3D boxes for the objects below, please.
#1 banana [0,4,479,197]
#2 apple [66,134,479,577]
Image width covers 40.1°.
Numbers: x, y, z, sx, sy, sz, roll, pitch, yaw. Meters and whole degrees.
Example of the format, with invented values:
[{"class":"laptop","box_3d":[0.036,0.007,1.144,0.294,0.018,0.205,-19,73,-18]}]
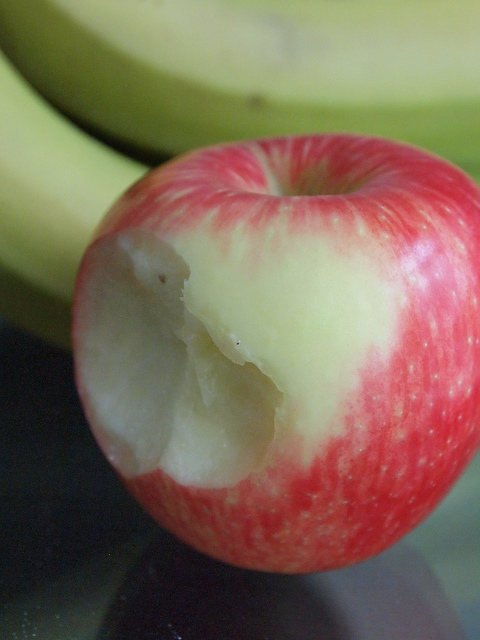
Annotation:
[{"class":"banana","box_3d":[0.015,-0.261,0.741,0.348,0.126,0.099,-2,49,2]},{"class":"apple","box_3d":[0.019,0.024,0.582,0.344,0.307,0.330,-17,25,-22]}]
